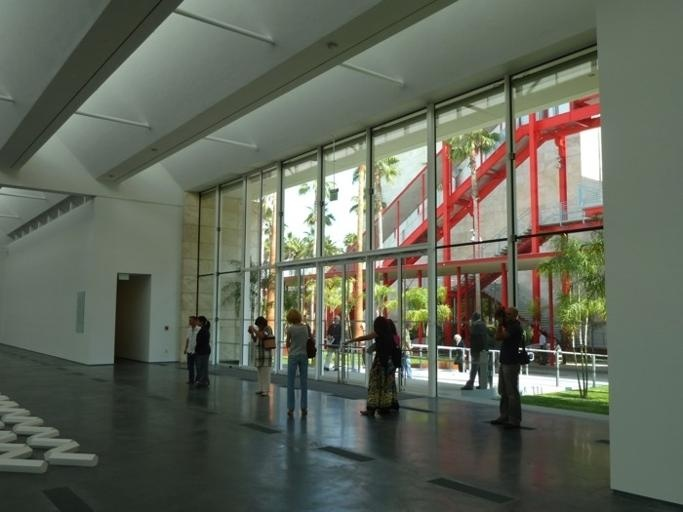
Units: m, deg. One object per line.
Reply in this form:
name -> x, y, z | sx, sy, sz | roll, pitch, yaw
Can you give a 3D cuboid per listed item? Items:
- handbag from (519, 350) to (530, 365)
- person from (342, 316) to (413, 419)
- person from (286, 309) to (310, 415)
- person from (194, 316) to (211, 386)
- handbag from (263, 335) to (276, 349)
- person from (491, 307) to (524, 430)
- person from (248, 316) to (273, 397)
handbag -> 2.906, 1.595, 9.121 | 0.118, 0.218, 0.272 | -1, -9, 28
person -> 0.696, 1.931, 10.188 | 0.787, 1.730, 0.451 | 5, -8, -14
person -> -0.759, 1.845, 10.004 | 0.489, 1.806, 0.291 | 7, -9, -26
person -> -3.202, 2.193, 13.312 | 0.383, 1.603, 0.718 | 5, -8, -14
handbag -> -1.469, 1.757, 11.699 | 0.340, 0.347, 0.206 | 1, -12, -9
person -> 2.667, 1.775, 9.215 | 0.470, 1.889, 0.527 | 1, -8, 17
person -> -1.707, 2.088, 12.152 | 0.519, 1.649, 1.278 | 4, -8, -7
